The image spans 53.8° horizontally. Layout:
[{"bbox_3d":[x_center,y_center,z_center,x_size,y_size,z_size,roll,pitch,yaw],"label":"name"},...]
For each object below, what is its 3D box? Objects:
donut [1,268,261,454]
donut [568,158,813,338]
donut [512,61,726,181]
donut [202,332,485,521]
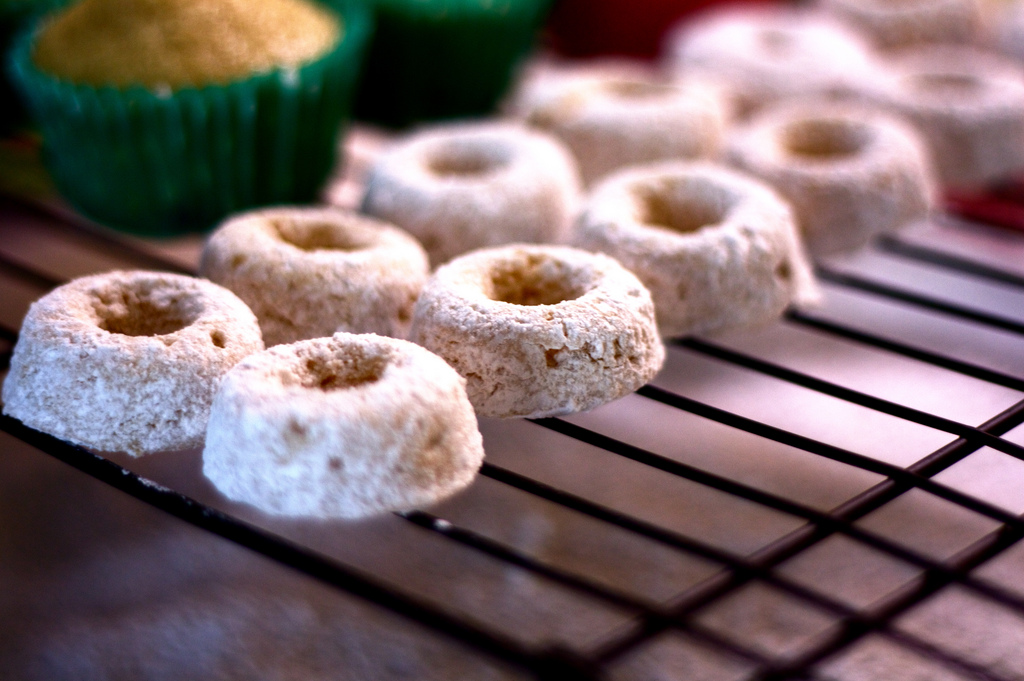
[{"bbox_3d":[-0.295,0.018,0.774,0.164,0.063,0.162,11,27,-2],"label":"donut"},{"bbox_3d":[0.167,-0.086,0.924,0.181,0.067,0.182,-14,33,-18],"label":"donut"},{"bbox_3d":[0.130,-0.254,1.187,0.282,0.103,0.275,-15,26,-41],"label":"donut"},{"bbox_3d":[-0.136,0.053,0.801,0.221,0.080,0.224,3,17,12],"label":"donut"}]
